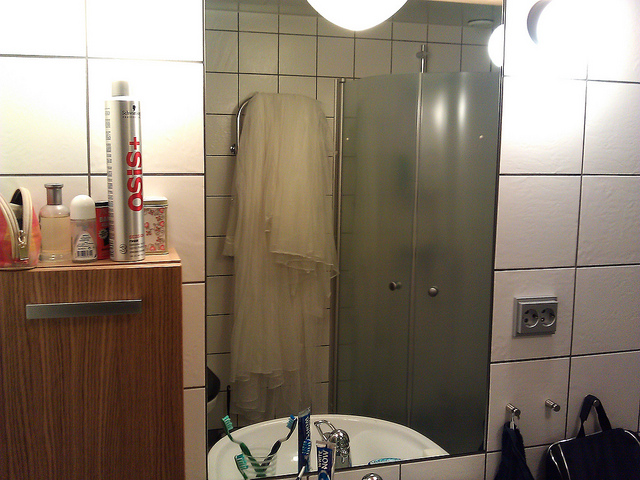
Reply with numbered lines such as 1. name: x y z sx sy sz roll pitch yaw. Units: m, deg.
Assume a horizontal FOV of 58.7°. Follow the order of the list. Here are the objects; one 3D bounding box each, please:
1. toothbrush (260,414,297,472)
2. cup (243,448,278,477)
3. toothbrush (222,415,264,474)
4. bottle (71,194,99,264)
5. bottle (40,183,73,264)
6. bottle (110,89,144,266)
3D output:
1. toothbrush: -0.104 0.493 1.374 0.024 0.164 0.017 36 -13 -17
2. cup: -0.140 0.537 1.365 0.064 0.052 0.064 1 0 0
3. toothbrush: -0.189 0.491 1.354 0.022 0.155 0.025 -35 0 35
4. bottle: -0.467 -0.039 1.137 0.059 0.160 0.060 9 27 -4
5. bottle: -0.520 -0.032 1.120 0.057 0.155 0.038 2 4 23
6. bottle: -0.382 -0.124 1.120 0.060 0.344 0.041 -1 4 -25
